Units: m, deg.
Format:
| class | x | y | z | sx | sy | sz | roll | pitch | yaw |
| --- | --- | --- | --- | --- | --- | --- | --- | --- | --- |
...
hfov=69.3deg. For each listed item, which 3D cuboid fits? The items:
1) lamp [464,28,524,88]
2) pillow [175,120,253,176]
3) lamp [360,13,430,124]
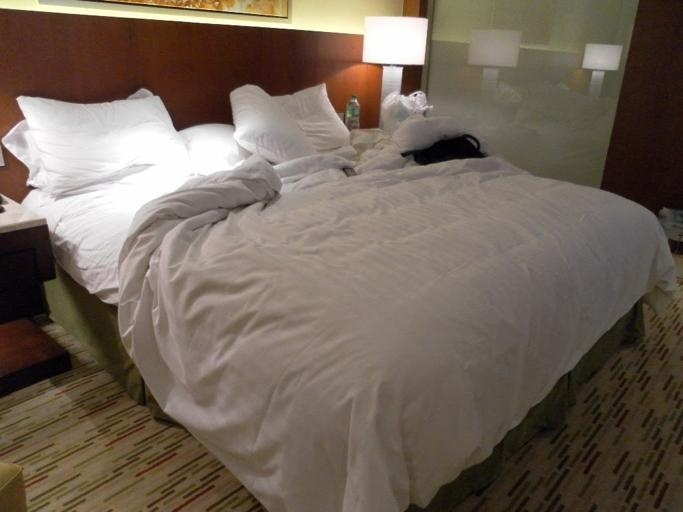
| class | x | y | z | sx | sy | sz | roll | pitch | yaw |
| --- | --- | --- | --- | --- | --- | --- | --- | --- | --- |
| lamp | 1.282 | -1.654 | 4.091 | 0.382 | 0.518 | 0.269 | 10 | 40 | 14 |
| pillow | -0.792 | -0.672 | 2.969 | 0.348 | 0.097 | 0.394 | -19 | 60 | -22 |
| lamp | 0.433 | -1.534 | 4.131 | 0.676 | 0.882 | 0.723 | 9 | 29 | 13 |
